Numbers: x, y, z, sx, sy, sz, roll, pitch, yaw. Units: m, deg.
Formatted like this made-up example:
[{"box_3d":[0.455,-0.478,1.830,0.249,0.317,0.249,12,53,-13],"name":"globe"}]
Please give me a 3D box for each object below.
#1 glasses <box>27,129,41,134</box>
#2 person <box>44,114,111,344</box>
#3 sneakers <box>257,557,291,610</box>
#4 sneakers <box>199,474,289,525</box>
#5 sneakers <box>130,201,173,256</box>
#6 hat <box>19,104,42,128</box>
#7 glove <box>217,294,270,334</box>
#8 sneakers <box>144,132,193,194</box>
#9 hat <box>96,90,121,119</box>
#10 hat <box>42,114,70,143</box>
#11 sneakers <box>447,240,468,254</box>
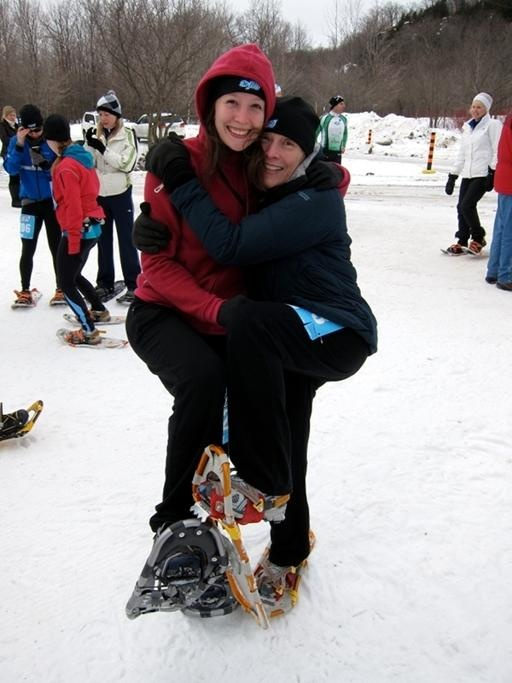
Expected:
[{"box_3d":[-2.160,-2.038,5.749,0.074,0.067,0.027,-7,-14,-14],"name":"glasses"},{"box_3d":[-1.488,-0.929,4.892,0.430,1.824,0.788,-6,17,-11],"name":"person"},{"box_3d":[0.058,0.900,2.205,0.097,0.049,0.152,2,26,3],"name":"sneakers"},{"box_3d":[-0.036,0.481,1.798,0.242,0.095,0.176,2,-2,-20],"name":"sneakers"},{"box_3d":[-0.356,-0.354,1.881,0.125,0.162,0.073,-35,-10,29],"name":"sneakers"},{"box_3d":[-2.189,-2.171,5.722,0.226,0.268,0.228,-6,-25,-22],"name":"hat"},{"box_3d":[-0.047,-0.079,1.694,0.118,0.081,0.133,-5,16,-11],"name":"glove"},{"box_3d":[-0.272,-0.565,1.900,0.103,0.154,0.209,1,40,-45],"name":"sneakers"},{"box_3d":[-1.483,-2.291,5.749,0.253,0.269,0.296,2,35,-2],"name":"hat"},{"box_3d":[-1.610,-1.699,4.755,0.209,0.205,0.242,-8,43,-26],"name":"hat"},{"box_3d":[2.477,-1.162,7.427,0.335,0.123,0.112,2,13,-7],"name":"sneakers"}]
